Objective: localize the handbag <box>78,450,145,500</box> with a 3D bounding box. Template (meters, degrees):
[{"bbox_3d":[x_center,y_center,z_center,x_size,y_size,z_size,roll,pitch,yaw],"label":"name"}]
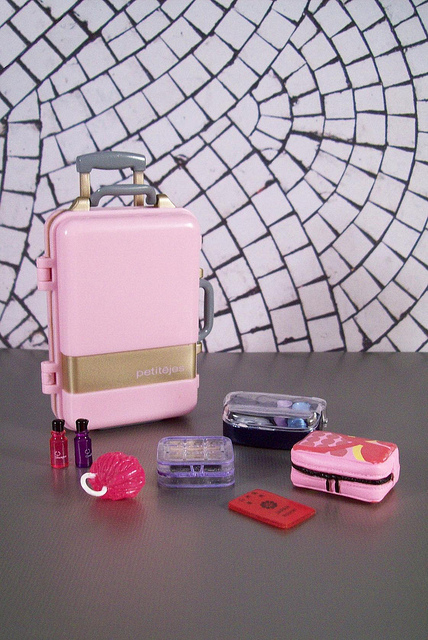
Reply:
[{"bbox_3d":[-0.095,0.145,0.528,0.059,0.038,0.046,0,8,-2],"label":"handbag"}]

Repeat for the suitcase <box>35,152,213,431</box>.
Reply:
[{"bbox_3d":[-0.097,-0.039,0.691,0.230,0.330,0.115,-4,10,-21],"label":"suitcase"}]

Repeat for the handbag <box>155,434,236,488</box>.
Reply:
[{"bbox_3d":[-0.013,0.138,0.561,0.084,0.023,0.084,3,9,25],"label":"handbag"}]

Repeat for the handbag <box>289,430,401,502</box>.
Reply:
[{"bbox_3d":[0.114,0.135,0.554,0.123,0.046,0.095,4,9,28],"label":"handbag"}]

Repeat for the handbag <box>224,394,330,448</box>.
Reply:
[{"bbox_3d":[0.070,0.108,0.648,0.081,0.029,0.060,3,9,14],"label":"handbag"}]
